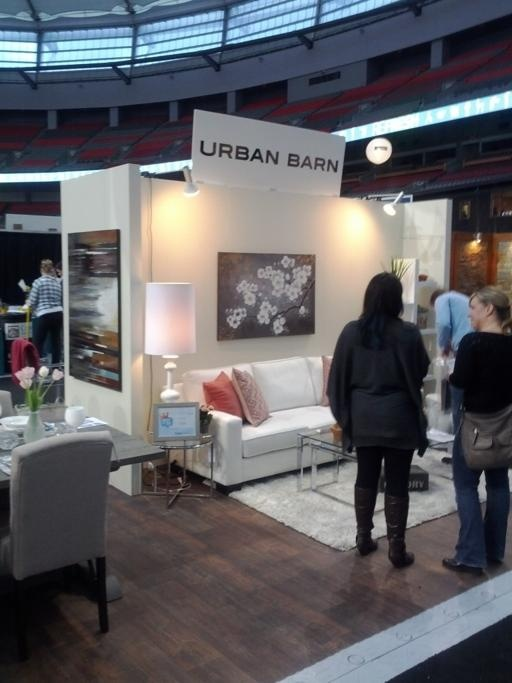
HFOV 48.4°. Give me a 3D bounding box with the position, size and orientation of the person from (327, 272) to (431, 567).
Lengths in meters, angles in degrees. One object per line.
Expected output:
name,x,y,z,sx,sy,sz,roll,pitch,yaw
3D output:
person,0.568,0.381,2.681,0.458,1.403,0.306,1,5,17

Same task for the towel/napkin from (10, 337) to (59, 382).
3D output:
towel/napkin,-1.971,0.145,5.102,0.282,0.481,0.486,-11,17,-33

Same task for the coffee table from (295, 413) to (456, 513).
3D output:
coffee table,0.549,0.781,3.831,0.668,0.413,0.687,-2,3,-37

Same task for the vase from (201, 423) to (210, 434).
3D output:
vase,-0.330,0.581,3.805,0.037,0.077,0.069,3,5,35

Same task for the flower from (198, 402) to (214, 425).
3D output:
flower,-0.330,0.489,3.876,0.089,0.125,0.093,-2,11,-22

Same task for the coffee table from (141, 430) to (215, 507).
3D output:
coffee table,-0.497,0.799,3.926,0.503,0.368,0.505,0,1,-38

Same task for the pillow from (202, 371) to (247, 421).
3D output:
pillow,-0.218,0.415,4.130,0.239,0.357,0.315,2,5,26

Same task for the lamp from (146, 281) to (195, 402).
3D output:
lamp,-0.549,-0.140,3.632,0.308,0.462,0.149,-1,4,-13
